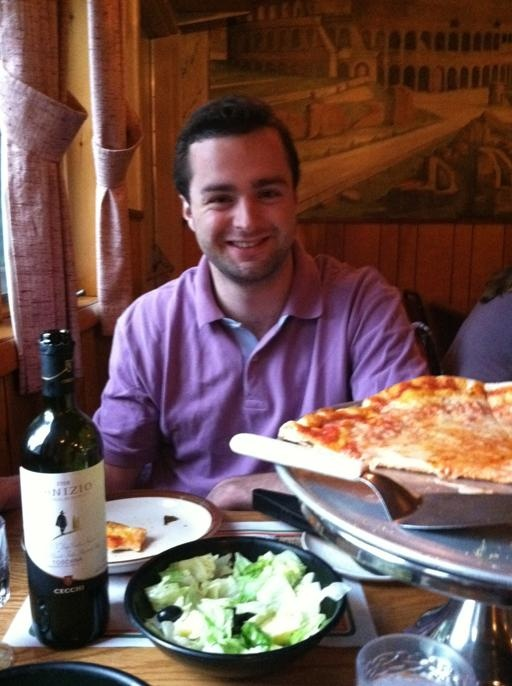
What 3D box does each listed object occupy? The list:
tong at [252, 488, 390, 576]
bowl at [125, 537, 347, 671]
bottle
[{"bbox_3d":[0.079,0.202,0.744,0.167,0.023,0.110,19,10,36],"label":"tong"},{"bbox_3d":[-0.028,0.266,0.574,0.202,0.049,0.195,3,5,0],"label":"bowl"},{"bbox_3d":[-0.180,0.171,0.560,0.074,0.243,0.065,-1,6,-17],"label":"bottle"}]
